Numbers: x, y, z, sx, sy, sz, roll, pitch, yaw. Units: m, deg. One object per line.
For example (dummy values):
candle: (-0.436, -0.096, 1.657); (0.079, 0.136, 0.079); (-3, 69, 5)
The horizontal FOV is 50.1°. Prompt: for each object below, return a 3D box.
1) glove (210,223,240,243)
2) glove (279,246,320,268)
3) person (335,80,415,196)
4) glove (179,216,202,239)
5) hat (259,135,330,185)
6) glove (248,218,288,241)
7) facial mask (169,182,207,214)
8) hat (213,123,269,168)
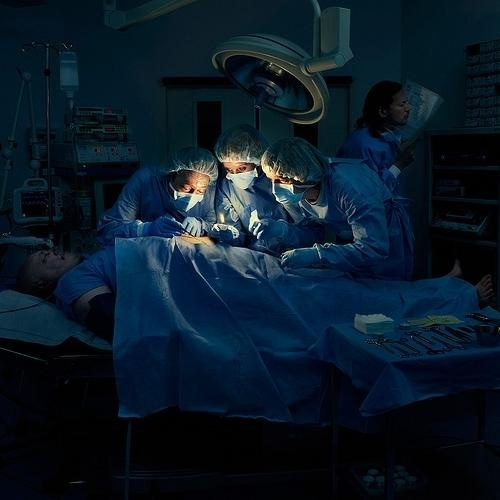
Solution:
glove: (-0.117, -0.080, 2.557); (0.122, 0.083, 0.049); (11, -13, -15)
glove: (0.205, 0.030, 2.173); (0.110, 0.098, 0.050); (-1, -23, 6)
person: (0.699, -0.579, 3.065); (0.457, 0.872, 0.549); (0, 6, 17)
glove: (-0.255, -0.099, 2.423); (0.069, 0.103, 0.033); (16, -40, -24)
hat: (0.182, -0.363, 2.159); (0.263, 0.168, 0.114); (1, 6, 1)
glove: (0.092, -0.086, 2.454); (0.118, 0.051, 0.099); (1, -29, -24)
facial mask: (-0.291, -0.224, 2.469); (0.100, 0.115, 0.071); (4, -43, -20)
hat: (-0.034, -0.459, 2.427); (0.162, 0.148, 0.186); (-1, 3, 9)
